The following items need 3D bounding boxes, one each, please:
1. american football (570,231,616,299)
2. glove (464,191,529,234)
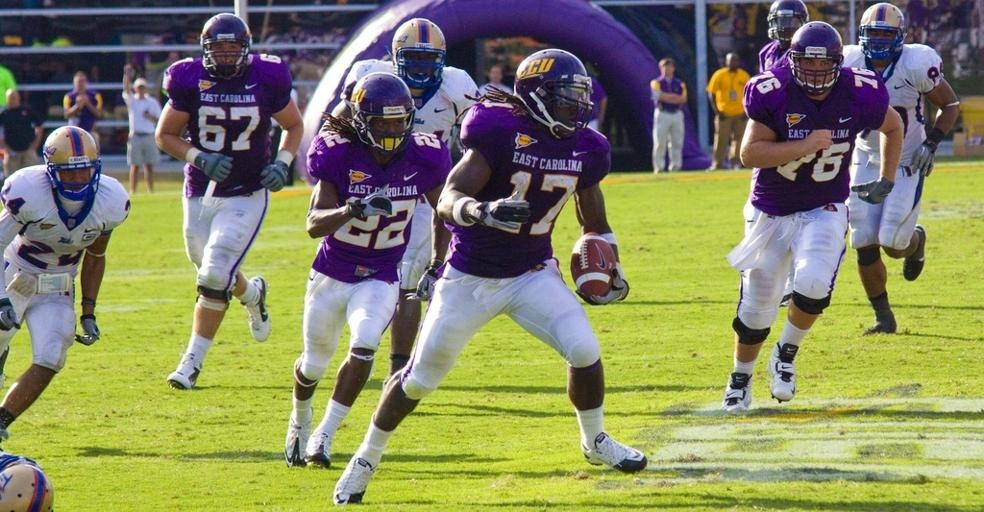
[{"bbox_3d":[0.942,0.112,12.084,0.394,0.542,0.364,-9,-6,40],"label":"american football"},{"bbox_3d":[0.045,-0.379,11.722,0.580,0.281,0.200,2,8,1],"label":"glove"}]
